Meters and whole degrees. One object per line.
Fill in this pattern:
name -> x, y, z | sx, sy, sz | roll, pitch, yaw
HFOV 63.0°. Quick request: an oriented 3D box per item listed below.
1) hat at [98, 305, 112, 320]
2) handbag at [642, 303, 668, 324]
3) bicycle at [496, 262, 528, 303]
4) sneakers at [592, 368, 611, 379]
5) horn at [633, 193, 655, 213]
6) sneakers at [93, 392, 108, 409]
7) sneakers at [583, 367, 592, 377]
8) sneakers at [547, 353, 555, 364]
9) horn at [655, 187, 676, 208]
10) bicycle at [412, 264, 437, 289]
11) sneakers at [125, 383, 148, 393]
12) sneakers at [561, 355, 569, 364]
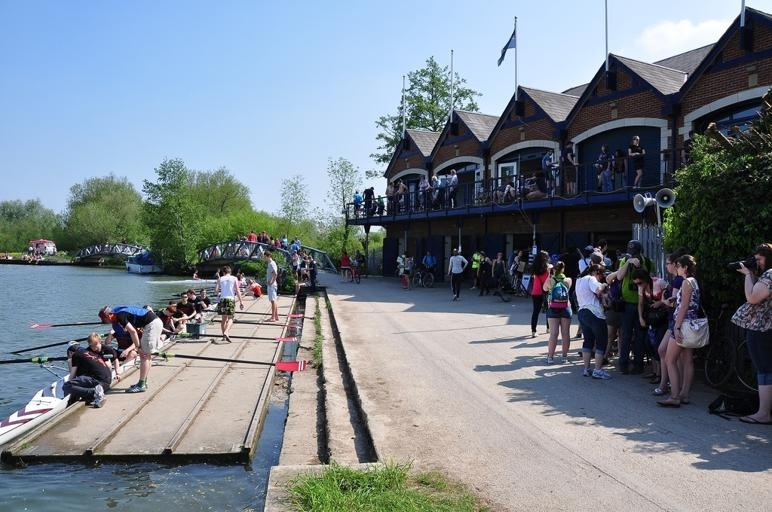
hat -> -6.222, 1.233, 13.788 | 0.237, 0.343, 0.307 | 2, -11, 0
handbag -> 5.410, 1.174, 12.723 | 0.271, 0.400, 0.611 | 0, -1, -4
bicycle -> 5.125, 0.945, 25.836 | 0.888, 2.486, 0.768 | 7, 2, 9
sneakers -> 4.577, 2.455, 13.301 | 0.417, 0.219, 0.172 | 0, 6, -13
horn -> 6.134, -1.302, 14.958 | 0.328, 0.419, 0.954 | 0, -1, 10
sneakers -> -5.885, 2.947, 12.906 | 0.201, 0.240, 0.248 | 3, -2, -34
sneakers -> 4.328, 2.453, 13.493 | 0.088, 0.124, 0.258 | 1, 4, 31
sneakers -> 3.772, 2.330, 14.316 | 0.137, 0.257, 0.239 | 4, -11, 6
horn -> 6.349, -1.330, 14.217 | 0.290, 0.395, 0.520 | 2, -10, 0
bicycle -> 1.850, 1.039, 31.238 | 1.224, 0.905, 0.650 | -1, 3, -6
sneakers -> -5.418, 2.838, 13.663 | 0.458, 0.228, 0.177 | 1, 0, 1
sneakers -> 4.140, 2.347, 14.390 | 0.162, 0.188, 0.320 | 3, -5, 11
